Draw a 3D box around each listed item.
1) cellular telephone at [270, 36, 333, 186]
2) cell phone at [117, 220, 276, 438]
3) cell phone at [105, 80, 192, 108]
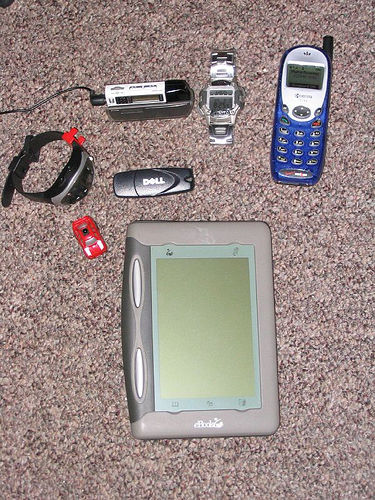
[{"bbox_3d":[0.138,-0.155,0.543,0.069,0.157,0.027,2,4,9],"label":"cellular telephone"},{"bbox_3d":[0.012,0.088,0.535,0.171,0.248,0.038,-1,-7,3],"label":"cell phone"},{"bbox_3d":[-0.049,-0.182,0.559,0.121,0.034,0.030,-3,19,2],"label":"cell phone"}]
